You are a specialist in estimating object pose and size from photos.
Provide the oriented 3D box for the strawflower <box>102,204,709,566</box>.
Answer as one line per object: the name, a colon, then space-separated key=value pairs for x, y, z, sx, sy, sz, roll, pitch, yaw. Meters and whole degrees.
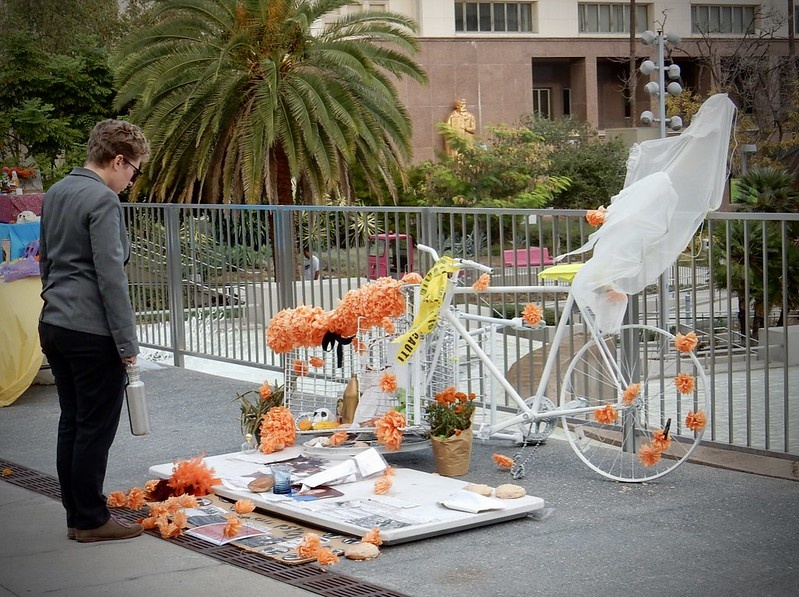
strawflower: x=0.345 y=0.371 z=8.315 sx=5.905 sy=2.935 sz=5.372 roll=-5 pitch=9 yaw=-38

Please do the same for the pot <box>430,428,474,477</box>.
pot: x=0.401 y=1.155 z=5.971 sx=0.288 sy=0.339 sz=0.328 roll=2 pitch=-10 yaw=-27

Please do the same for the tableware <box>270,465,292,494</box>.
tableware: x=-0.800 y=1.240 z=5.465 sx=0.204 sy=0.241 sz=0.142 roll=1 pitch=-10 yaw=-13

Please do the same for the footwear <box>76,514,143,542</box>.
footwear: x=-1.743 y=1.398 z=4.889 sx=0.390 sy=0.168 sz=0.141 roll=-2 pitch=4 yaw=-22

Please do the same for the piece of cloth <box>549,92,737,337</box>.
piece of cloth: x=1.802 y=-0.679 z=6.085 sx=0.969 sy=1.847 sz=1.104 roll=1 pitch=9 yaw=-4

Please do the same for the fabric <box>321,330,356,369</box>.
fabric: x=-0.484 y=0.395 z=6.410 sx=0.256 sy=0.298 sz=0.248 roll=-2 pitch=6 yaw=-5

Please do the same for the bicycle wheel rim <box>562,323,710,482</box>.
bicycle wheel rim: x=1.834 y=0.842 z=6.282 sx=1.039 sy=1.321 sz=1.079 roll=1 pitch=6 yaw=20

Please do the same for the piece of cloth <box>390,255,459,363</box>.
piece of cloth: x=0.194 y=0.101 z=6.081 sx=0.536 sy=0.807 sz=0.235 roll=-4 pitch=7 yaw=-25
